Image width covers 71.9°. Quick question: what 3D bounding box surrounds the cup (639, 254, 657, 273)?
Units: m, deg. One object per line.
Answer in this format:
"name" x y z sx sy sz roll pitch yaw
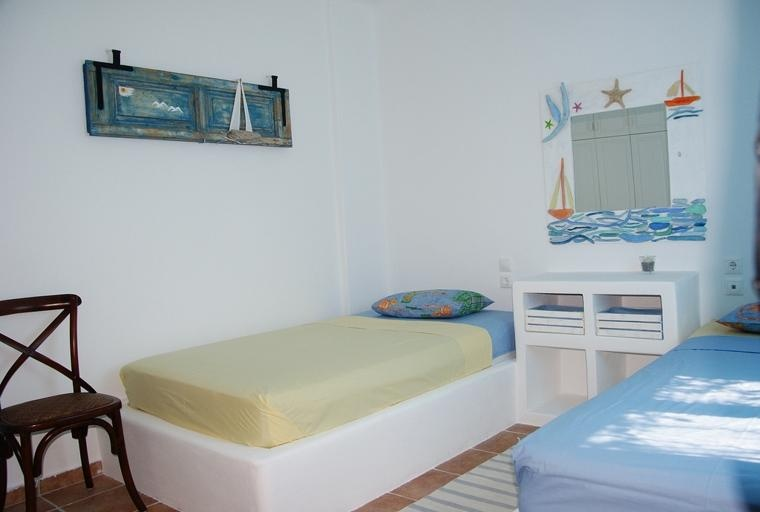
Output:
"cup" 1.714 0.049 3.345 0.111 0.095 0.114 1 4 0

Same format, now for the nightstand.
"nightstand" 1.276 0.491 2.938 0.982 0.811 0.512 4 10 22
